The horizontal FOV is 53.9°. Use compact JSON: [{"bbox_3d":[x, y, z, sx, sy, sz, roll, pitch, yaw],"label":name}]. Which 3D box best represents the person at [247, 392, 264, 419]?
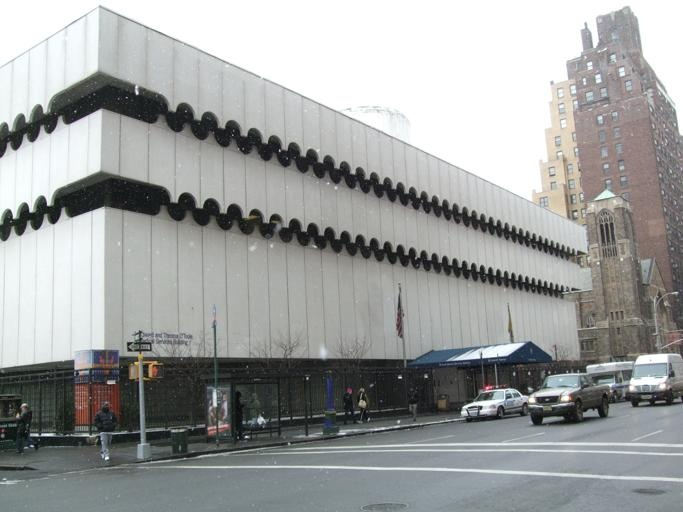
[{"bbox_3d":[-4.275,7.376,33.398,0.960,1.207,0.523,2,-14,-29],"label":"person"}]

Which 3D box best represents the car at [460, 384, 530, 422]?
[{"bbox_3d":[9.759,9.160,41.603,1.825,1.546,4.598,-12,-19,32],"label":"car"}]

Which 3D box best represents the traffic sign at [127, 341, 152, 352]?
[{"bbox_3d":[-8.365,3.728,28.060,0.807,0.582,1.127,-4,-14,-10],"label":"traffic sign"}]

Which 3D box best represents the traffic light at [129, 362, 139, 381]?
[{"bbox_3d":[-8.666,4.767,28.250,0.327,0.696,1.168,0,-15,-20],"label":"traffic light"}]

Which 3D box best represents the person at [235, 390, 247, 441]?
[{"bbox_3d":[-4.887,7.657,32.489,0.349,2.333,1.603,-3,-13,-5],"label":"person"}]

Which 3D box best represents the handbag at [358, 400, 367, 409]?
[{"bbox_3d":[1.382,9.430,43.122,0.471,0.546,0.480,-16,-32,33],"label":"handbag"}]

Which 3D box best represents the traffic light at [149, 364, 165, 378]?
[{"bbox_3d":[-7.570,4.714,27.665,0.477,0.586,0.536,-3,-7,14],"label":"traffic light"}]

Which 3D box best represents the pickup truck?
[{"bbox_3d":[11.133,6.936,32.970,4.598,2.312,1.835,7,-18,-42],"label":"pickup truck"}]

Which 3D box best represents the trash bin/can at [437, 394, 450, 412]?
[{"bbox_3d":[8.368,12.093,55.621,0.925,1.520,1.012,-4,-13,24],"label":"trash bin/can"}]

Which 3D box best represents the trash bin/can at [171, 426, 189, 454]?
[{"bbox_3d":[-6.771,7.817,28.243,0.654,0.984,0.837,0,-14,-21],"label":"trash bin/can"}]
